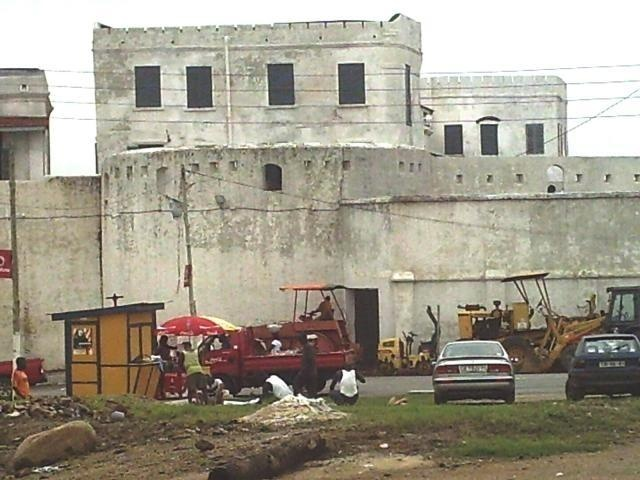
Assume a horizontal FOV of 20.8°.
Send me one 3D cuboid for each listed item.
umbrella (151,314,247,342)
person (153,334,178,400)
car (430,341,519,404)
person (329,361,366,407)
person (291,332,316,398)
[{"bbox_3d":[-4.116,2.976,58.382,2.561,0.705,1.405,-2,0,-7],"label":"umbrella"},{"bbox_3d":[-5.254,4.241,57.917,0.758,2.756,1.092,-1,8,20],"label":"person"},{"bbox_3d":[4.695,4.179,53.466,2.440,1.823,0.989,-2,0,3],"label":"car"},{"bbox_3d":[0.834,4.702,55.150,0.911,1.179,0.885,-5,-6,41],"label":"person"},{"bbox_3d":[-0.423,4.044,55.444,0.758,1.960,0.620,-3,-3,17],"label":"person"}]
